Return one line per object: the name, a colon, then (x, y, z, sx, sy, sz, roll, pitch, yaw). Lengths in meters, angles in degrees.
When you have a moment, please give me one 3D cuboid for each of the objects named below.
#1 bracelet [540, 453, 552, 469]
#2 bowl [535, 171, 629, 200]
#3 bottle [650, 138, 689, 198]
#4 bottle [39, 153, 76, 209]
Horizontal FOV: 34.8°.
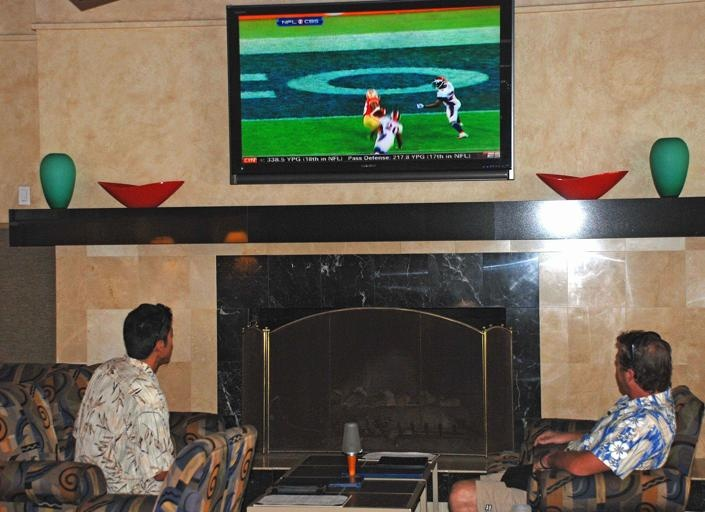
bracelet: (1.045, 1.107, 6.149, 0.072, 0.068, 0.065, 3, 14, -4)
bowl: (1.432, -0.439, 7.073, 0.556, 0.211, 0.342, -1, -5, 14)
bottle: (1.946, -0.553, 6.945, 0.233, 0.408, 0.211, -1, -4, 14)
bottle: (-1.908, -0.486, 7.247, 0.221, 0.364, 0.118, 1, -4, -16)
